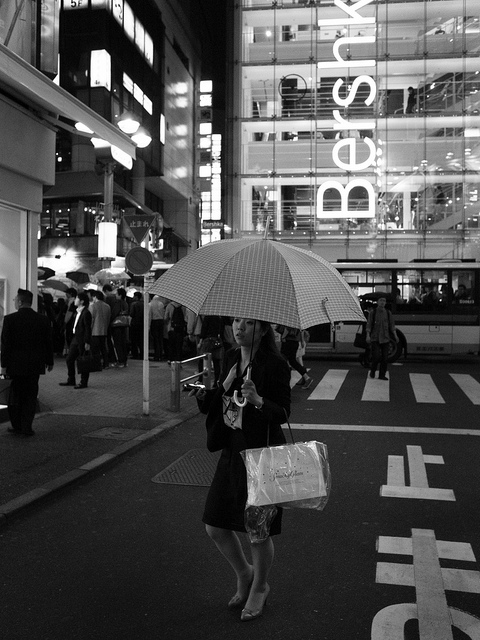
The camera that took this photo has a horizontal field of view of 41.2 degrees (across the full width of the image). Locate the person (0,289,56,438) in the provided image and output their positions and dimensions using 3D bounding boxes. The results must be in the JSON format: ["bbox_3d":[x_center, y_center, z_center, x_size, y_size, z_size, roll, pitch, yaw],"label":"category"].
[{"bbox_3d":[-2.758,0.504,8.208,0.646,1.778,1.266,-1,3,-17],"label":"person"}]

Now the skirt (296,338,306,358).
[{"bbox_3d":[1.218,0.636,12.734,0.187,0.578,0.353,2,4,9],"label":"skirt"}]

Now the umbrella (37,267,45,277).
[{"bbox_3d":[-6.246,-1.468,19.979,0.187,0.269,0.872,-1,5,-18],"label":"umbrella"}]

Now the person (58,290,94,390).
[{"bbox_3d":[-3.256,0.419,12.721,0.624,1.899,3.322,-1,4,-14],"label":"person"}]

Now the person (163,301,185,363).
[{"bbox_3d":[-1.581,0.123,15.608,0.430,1.907,0.488,-1,33,-11],"label":"person"}]

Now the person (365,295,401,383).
[{"bbox_3d":[3.080,0.431,13.910,0.518,2.041,0.440,-4,-24,20],"label":"person"}]

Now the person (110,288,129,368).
[{"bbox_3d":[-3.169,0.195,16.613,0.456,1.966,1.726,-1,3,-12],"label":"person"}]

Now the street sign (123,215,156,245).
[{"bbox_3d":[-1.544,-1.360,9.656,0.572,0.461,0.319,2,4,25],"label":"street sign"}]

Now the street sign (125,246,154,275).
[{"bbox_3d":[-1.463,-0.851,9.192,0.383,0.407,0.319,0,3,-1],"label":"street sign"}]

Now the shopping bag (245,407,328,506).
[{"bbox_3d":[0.235,0.765,3.190,0.405,0.264,0.140,-1,3,-9],"label":"shopping bag"}]

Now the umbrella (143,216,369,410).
[{"bbox_3d":[0.096,-0.152,3.569,0.881,1.345,0.974,15,-10,-36],"label":"umbrella"}]

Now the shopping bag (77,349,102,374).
[{"bbox_3d":[-2.702,0.802,11.379,0.408,0.339,0.356,-1,4,-18],"label":"shopping bag"}]
